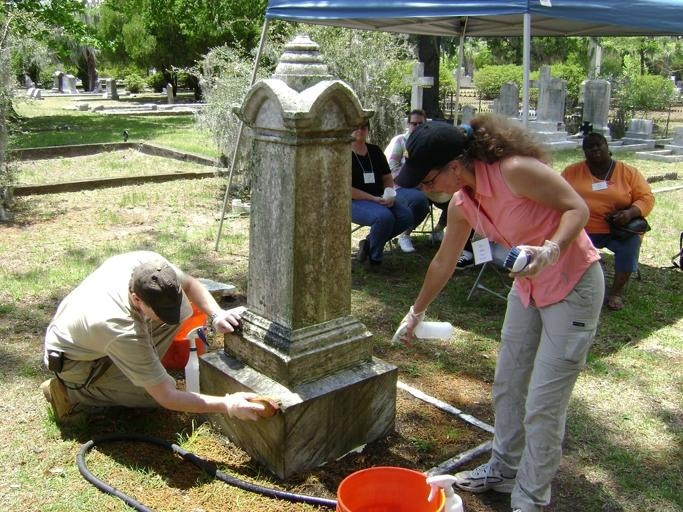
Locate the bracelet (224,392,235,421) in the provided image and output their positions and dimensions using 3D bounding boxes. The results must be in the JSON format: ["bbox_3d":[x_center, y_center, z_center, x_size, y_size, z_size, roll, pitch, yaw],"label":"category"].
[{"bbox_3d":[-0.701,0.920,3.867,0.050,0.145,0.156,3,24,-10],"label":"bracelet"}]

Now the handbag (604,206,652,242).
[{"bbox_3d":[3.016,-0.323,6.441,0.374,0.344,0.145,-27,-9,-10],"label":"handbag"}]

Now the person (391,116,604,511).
[{"bbox_3d":[0.946,0.382,3.581,1.050,2.345,0.594,7,15,29],"label":"person"}]

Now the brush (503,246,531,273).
[{"bbox_3d":[0.935,0.025,3.225,0.130,0.116,0.067,16,6,8],"label":"brush"}]

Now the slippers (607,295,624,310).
[{"bbox_3d":[2.801,0.478,6.216,0.157,0.104,0.174,5,15,18],"label":"slippers"}]

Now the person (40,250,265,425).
[{"bbox_3d":[-1.326,0.601,3.995,1.413,1.175,0.474,6,14,22],"label":"person"}]

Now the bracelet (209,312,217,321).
[{"bbox_3d":[-0.895,0.425,4.268,0.042,0.047,0.044,-2,6,1],"label":"bracelet"}]

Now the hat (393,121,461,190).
[{"bbox_3d":[0.511,-0.575,3.471,0.385,0.360,0.189,2,13,6],"label":"hat"}]
